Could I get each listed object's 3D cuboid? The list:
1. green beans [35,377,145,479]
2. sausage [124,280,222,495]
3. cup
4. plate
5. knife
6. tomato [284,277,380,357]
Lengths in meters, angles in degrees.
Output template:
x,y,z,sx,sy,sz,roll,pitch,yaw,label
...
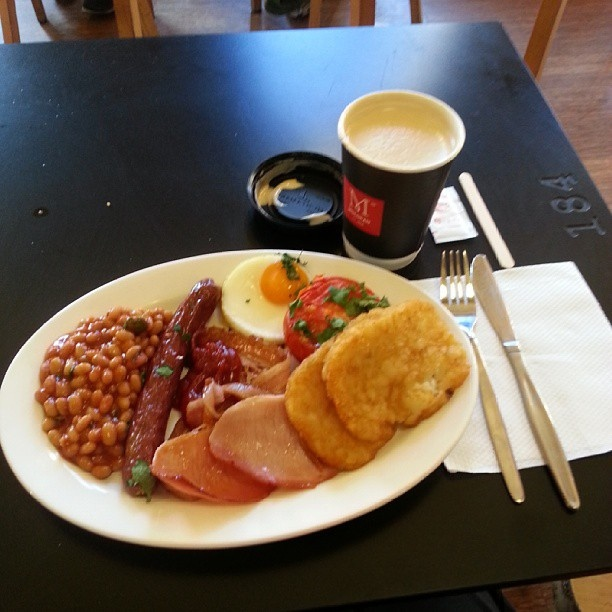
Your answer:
x,y,z,sx,sy,sz,roll,pitch,yaw,label
-0.408,0.233,1.048,0.146,0.024,0.182,37,51,-8,green beans
-0.266,0.134,1.149,0.083,0.075,0.481,36,55,-29,sausage
0.183,-0.261,1.158,0.253,0.350,0.170,15,53,9,cup
-0.136,0.158,1.072,0.915,0.124,0.608,8,53,5,plate
0.441,0.128,1.147,0.051,0.047,0.571,-6,53,-5,knife
0.047,0.003,1.149,0.191,0.157,0.141,-17,43,-22,tomato
